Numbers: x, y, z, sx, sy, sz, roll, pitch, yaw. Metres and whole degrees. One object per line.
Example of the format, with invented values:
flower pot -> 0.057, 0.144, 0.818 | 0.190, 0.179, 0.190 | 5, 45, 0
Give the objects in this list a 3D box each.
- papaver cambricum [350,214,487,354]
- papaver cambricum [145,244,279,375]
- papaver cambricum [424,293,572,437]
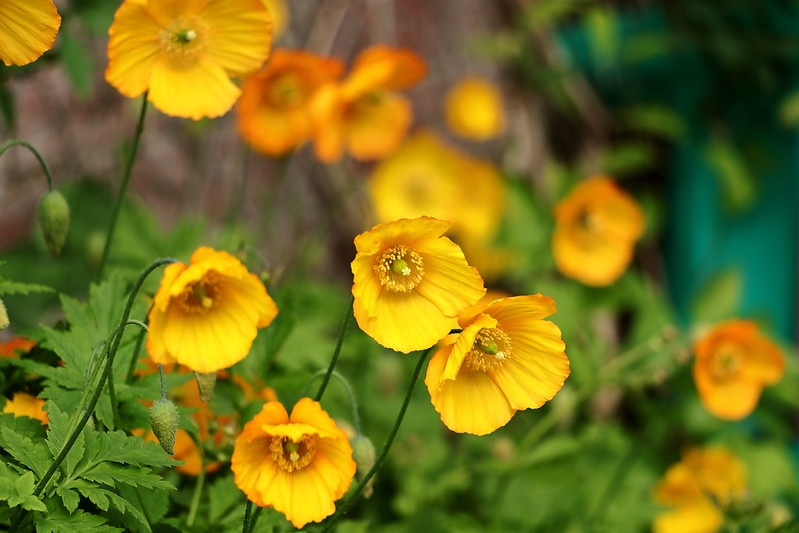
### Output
papaver cambricum -> 0.009, 0.005, 1.627 | 0.249, 0.122, 0.251 | 35, 46, 29
papaver cambricum -> -0.349, 0.090, 1.677 | 0.230, 0.261, 0.100 | -3, 7, -15
papaver cambricum -> 0.175, 0.154, 1.642 | 0.277, 0.133, 0.209 | -22, 40, -23
